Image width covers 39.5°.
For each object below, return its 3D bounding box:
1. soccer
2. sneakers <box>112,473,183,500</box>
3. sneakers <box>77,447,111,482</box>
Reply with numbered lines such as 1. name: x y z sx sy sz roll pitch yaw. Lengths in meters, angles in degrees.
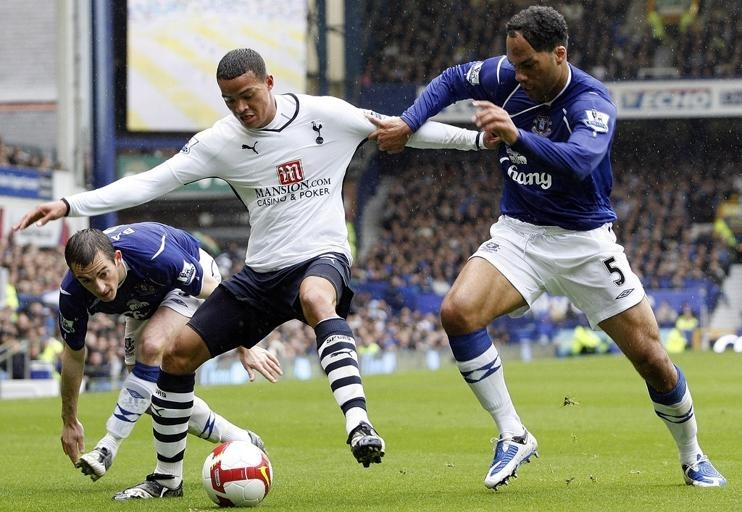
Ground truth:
1. soccer: -1.222 1.986 9.378 0.511 0.573 0.558 -2 29 -8
2. sneakers: -2.104 2.165 9.749 0.618 0.250 0.246 4 -9 -16
3. sneakers: -2.631 2.000 9.969 0.227 0.176 0.465 -38 -8 -5
